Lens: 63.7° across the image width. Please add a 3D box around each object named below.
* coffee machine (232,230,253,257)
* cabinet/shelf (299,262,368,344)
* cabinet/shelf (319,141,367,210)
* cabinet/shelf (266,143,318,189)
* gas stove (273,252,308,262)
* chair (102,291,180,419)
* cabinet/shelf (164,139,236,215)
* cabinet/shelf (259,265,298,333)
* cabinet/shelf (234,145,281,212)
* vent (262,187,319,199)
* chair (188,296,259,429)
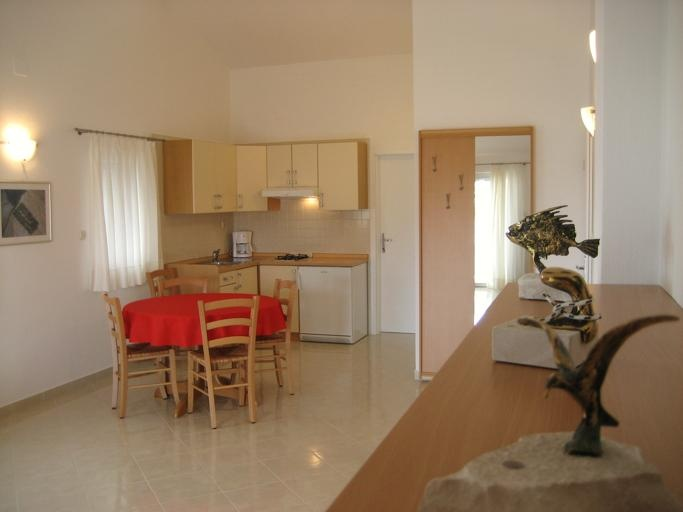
[{"bbox_3d":[-1.376,-0.173,7.544,0.305,0.449,0.310,-1,0,-16],"label":"coffee machine"},{"bbox_3d":[-0.052,0.564,7.107,0.888,1.305,0.858,0,-1,12],"label":"cabinet/shelf"},{"bbox_3d":[-0.002,-0.993,6.812,0.682,1.084,0.528,2,9,19],"label":"cabinet/shelf"},{"bbox_3d":[-0.640,-1.123,7.142,0.633,0.578,0.255,-2,-9,-1],"label":"cabinet/shelf"},{"bbox_3d":[-0.701,0.013,7.323,0.482,0.054,0.525,1,7,8],"label":"gas stove"},{"bbox_3d":[-1.674,0.837,4.677,0.564,0.931,0.515,2,3,-17],"label":"chair"},{"bbox_3d":[-1.750,-0.962,6.866,0.426,0.933,1.044,-4,2,19],"label":"cabinet/shelf"},{"bbox_3d":[-0.795,0.672,7.057,0.344,0.647,0.364,6,-7,-6],"label":"cabinet/shelf"},{"bbox_3d":[-1.204,-0.992,7.387,0.513,0.888,0.566,3,16,1],"label":"cabinet/shelf"},{"bbox_3d":[-0.662,-0.813,7.070,0.770,0.129,0.280,3,8,29],"label":"vent"},{"bbox_3d":[-0.974,0.828,4.532,0.556,1.014,0.592,2,3,40],"label":"chair"}]
